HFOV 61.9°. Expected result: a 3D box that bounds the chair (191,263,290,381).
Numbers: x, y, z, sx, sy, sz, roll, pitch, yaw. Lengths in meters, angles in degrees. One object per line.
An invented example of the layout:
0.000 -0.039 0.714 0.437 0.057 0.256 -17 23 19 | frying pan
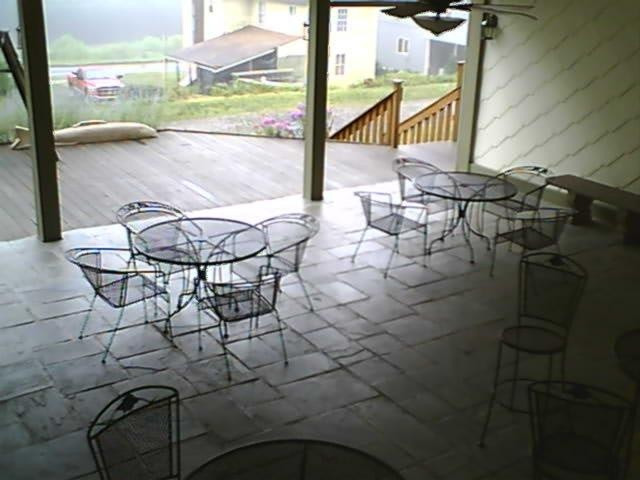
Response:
-0.648 0.593 4.575 0.709 0.859 0.909 -2 25 -7 | chair

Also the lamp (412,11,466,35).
0.936 -1.714 4.247 0.406 0.157 0.204 3 24 6 | lamp

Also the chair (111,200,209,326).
-1.554 0.265 5.141 1.090 1.165 0.926 -1 42 -8 | chair

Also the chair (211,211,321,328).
-0.473 0.257 5.337 0.870 0.777 0.837 18 12 26 | chair
